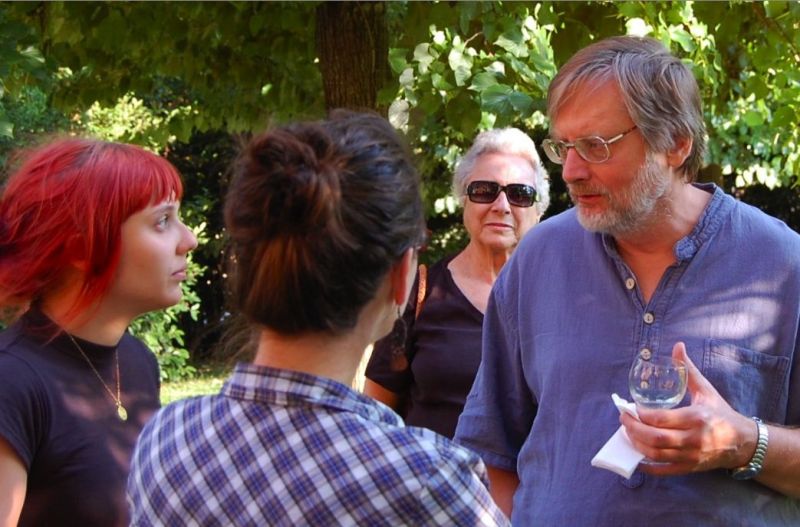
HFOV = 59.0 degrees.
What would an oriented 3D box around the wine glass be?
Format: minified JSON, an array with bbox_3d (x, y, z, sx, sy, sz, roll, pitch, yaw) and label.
[{"bbox_3d":[0.946,0.525,2.707,0.185,0.447,0.223,-1,0,2],"label":"wine glass"}]
